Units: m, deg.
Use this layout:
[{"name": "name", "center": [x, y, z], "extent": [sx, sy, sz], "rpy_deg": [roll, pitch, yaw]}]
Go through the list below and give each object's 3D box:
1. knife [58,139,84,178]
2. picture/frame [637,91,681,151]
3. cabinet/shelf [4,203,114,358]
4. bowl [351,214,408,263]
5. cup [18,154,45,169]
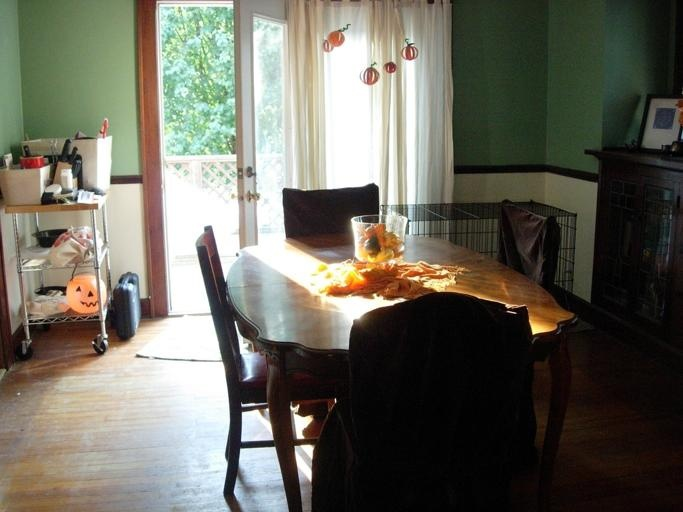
[{"name": "knife", "center": [-1.897, -0.693, 3.766], "extent": [0.126, 0.253, 0.250], "rpy_deg": [-16, 54, -39]}, {"name": "picture/frame", "center": [2.181, -0.921, 3.629], "extent": [0.207, 0.360, 0.269], "rpy_deg": [-14, 18, -38]}, {"name": "cabinet/shelf", "center": [-2.049, 0.107, 3.958], "extent": [0.688, 1.096, 0.863], "rpy_deg": [-9, 16, -25]}, {"name": "bowl", "center": [0.216, -0.085, 2.691], "extent": [0.299, 0.234, 0.305], "rpy_deg": [0, 0, 0]}, {"name": "cup", "center": [-2.101, -0.642, 3.613], "extent": [0.111, 0.093, 0.116], "rpy_deg": [1, 10, 0]}]
